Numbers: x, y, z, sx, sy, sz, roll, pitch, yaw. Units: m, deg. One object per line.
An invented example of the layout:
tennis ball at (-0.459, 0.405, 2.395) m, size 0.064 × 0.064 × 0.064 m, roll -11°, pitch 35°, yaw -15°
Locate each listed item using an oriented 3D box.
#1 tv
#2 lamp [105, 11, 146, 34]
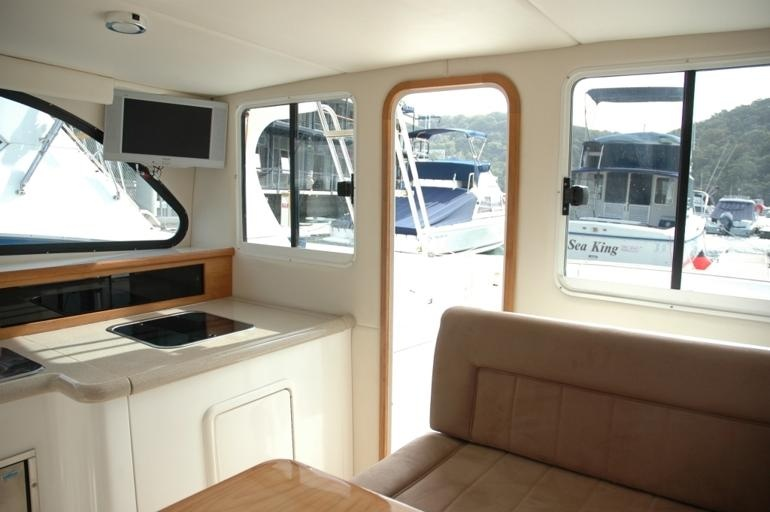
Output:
tv at (-1.468, -0.835, 3.504) m, size 0.594 × 0.383 × 0.067 m, roll 1°, pitch 8°, yaw -30°
lamp at (-1.196, -1.077, 2.446) m, size 0.178 × 0.062 × 0.167 m, roll -3°, pitch 12°, yaw -15°
